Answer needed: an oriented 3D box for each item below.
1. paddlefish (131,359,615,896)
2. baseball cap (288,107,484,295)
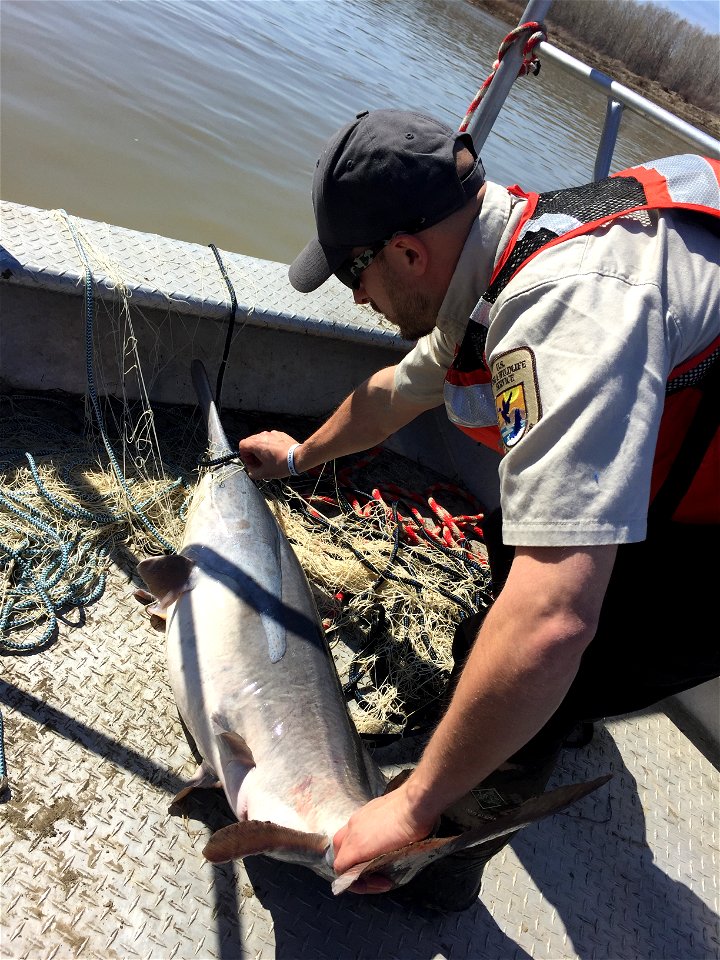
[{"bbox_3d":[-0.194,0.337,2.108,0.609,0.263,1.293,-3,29,-27],"label":"paddlefish"},{"bbox_3d":[0.024,-0.574,1.898,0.219,0.387,0.267,48,39,-23],"label":"baseball cap"}]
